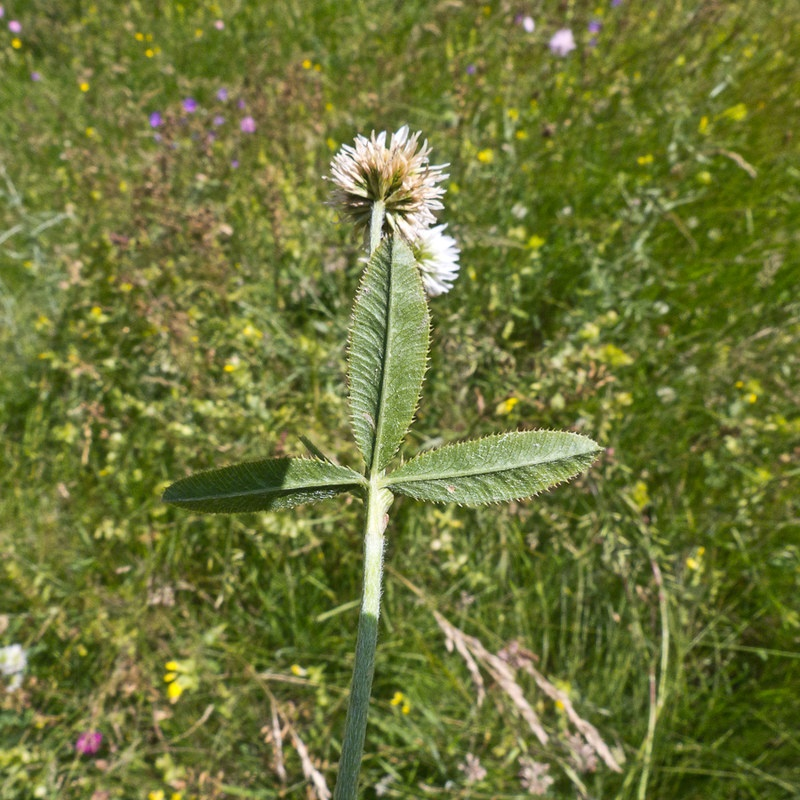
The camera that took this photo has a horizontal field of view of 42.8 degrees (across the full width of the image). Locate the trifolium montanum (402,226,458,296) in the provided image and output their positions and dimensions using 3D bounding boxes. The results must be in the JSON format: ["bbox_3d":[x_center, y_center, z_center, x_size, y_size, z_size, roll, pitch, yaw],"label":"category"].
[{"bbox_3d":[0.131,-0.510,3.745,0.148,0.251,0.254,-8,67,8],"label":"trifolium montanum"}]

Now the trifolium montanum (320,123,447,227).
[{"bbox_3d":[-0.052,-0.774,3.243,0.358,0.353,0.202,-8,42,28],"label":"trifolium montanum"}]
